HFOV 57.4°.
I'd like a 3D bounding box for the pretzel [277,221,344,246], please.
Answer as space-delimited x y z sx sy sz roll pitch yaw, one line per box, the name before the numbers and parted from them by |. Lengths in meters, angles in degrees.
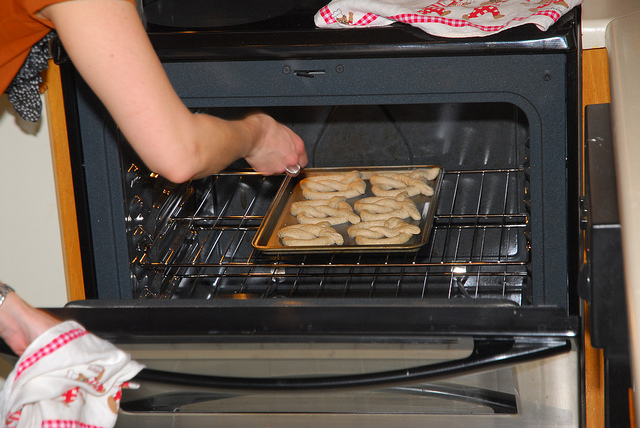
pretzel | -0.030 0.025 1.324 0.130 0.043 0.142 -10 15 -23
